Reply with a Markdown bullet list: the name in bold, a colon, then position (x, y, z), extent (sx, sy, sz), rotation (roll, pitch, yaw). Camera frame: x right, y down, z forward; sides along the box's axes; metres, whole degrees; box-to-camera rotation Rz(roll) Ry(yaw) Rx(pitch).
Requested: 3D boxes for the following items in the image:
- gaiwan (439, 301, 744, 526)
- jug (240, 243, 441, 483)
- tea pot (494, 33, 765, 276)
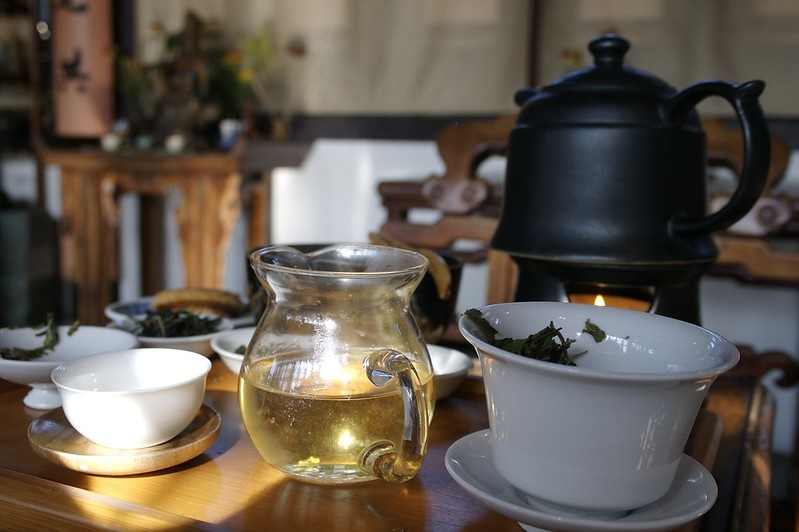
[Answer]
- **gaiwan**: position (0.175, 0.110, 0.666), extent (0.255, 0.155, 0.239), rotation (2, 5, -41)
- **jug**: position (-0.113, 0.095, 0.721), extent (0.174, 0.183, 0.268), rotation (0, 7, -28)
- **tea pot**: position (0.306, -0.156, 0.858), extent (0.301, 0.264, 0.365), rotation (-11, 18, -36)
